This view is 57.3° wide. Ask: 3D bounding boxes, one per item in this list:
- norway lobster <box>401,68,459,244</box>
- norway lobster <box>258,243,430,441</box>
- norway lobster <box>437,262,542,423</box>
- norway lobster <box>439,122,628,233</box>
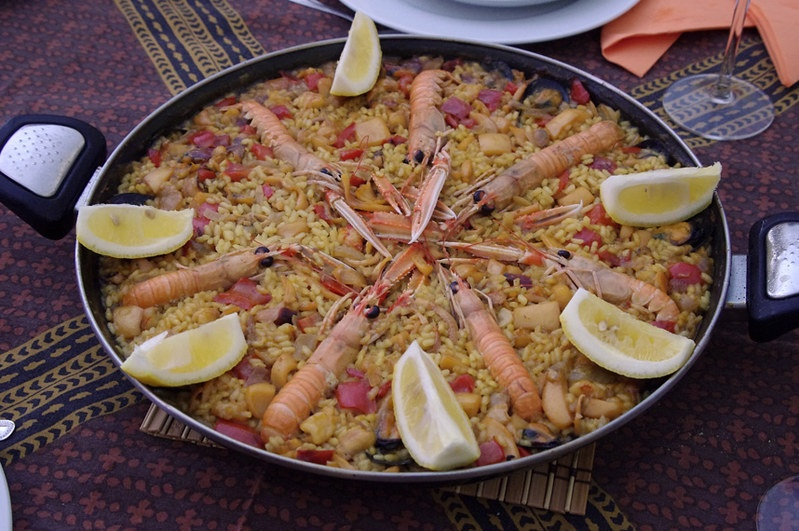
[{"bbox_3d":[0.116,-0.434,2.856,0.146,0.102,0.707,-2,53,17],"label":"norway lobster"},{"bbox_3d":[-0.205,0.303,2.571,0.831,0.140,0.114,-51,120,-35],"label":"norway lobster"},{"bbox_3d":[0.264,0.208,2.619,0.150,0.144,0.721,-25,60,-7],"label":"norway lobster"},{"bbox_3d":[0.521,-0.317,2.793,0.665,0.109,0.114,-30,68,-6],"label":"norway lobster"}]
